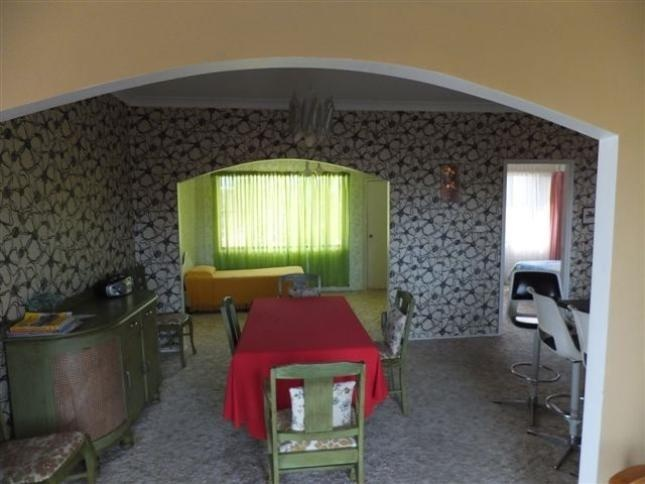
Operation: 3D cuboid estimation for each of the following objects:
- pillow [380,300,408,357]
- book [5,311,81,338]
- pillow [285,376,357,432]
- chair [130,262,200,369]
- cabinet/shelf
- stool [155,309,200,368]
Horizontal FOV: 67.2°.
[{"bbox_3d":[0.623,0.779,4.215,0.101,0.356,0.547,18,-1,-3],"label":"pillow"},{"bbox_3d":[-1.973,0.566,3.477,0.442,0.102,0.347,-2,10,-6],"label":"book"},{"bbox_3d":[-0.001,1.003,2.961,0.361,0.390,0.114,0,1,-11],"label":"pillow"},{"bbox_3d":[-1.589,0.763,5.273,0.642,1.184,0.632,-7,0,39],"label":"chair"},{"bbox_3d":[-1.768,0.981,3.518,0.388,0.844,1.190,-3,7,-1],"label":"cabinet/shelf"},{"bbox_3d":[-1.527,1.043,5.133,0.284,0.457,0.374,-3,5,20],"label":"stool"}]
